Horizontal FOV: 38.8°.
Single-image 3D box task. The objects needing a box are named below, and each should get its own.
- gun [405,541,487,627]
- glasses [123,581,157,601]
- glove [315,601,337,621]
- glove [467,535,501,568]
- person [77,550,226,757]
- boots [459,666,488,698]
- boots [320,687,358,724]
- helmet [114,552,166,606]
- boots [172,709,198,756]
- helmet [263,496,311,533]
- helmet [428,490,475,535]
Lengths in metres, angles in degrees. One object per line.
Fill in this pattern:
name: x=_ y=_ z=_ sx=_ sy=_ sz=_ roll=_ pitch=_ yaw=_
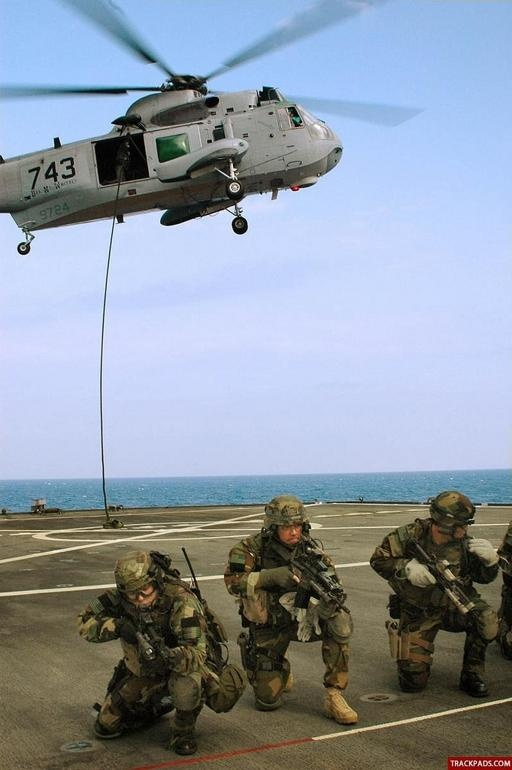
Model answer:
gun: x=1.564 y=1.655 z=6.036 sx=0.446 sy=0.856 sz=0.148 roll=-42 pitch=-29 yaw=11
glasses: x=-0.804 y=1.415 z=4.915 sx=0.145 sy=0.097 sz=0.191 roll=-22 pitch=19 yaw=2
glove: x=0.485 y=1.660 z=5.351 sx=0.133 sy=0.153 sz=0.173 roll=1 pitch=0 yaw=-4
glove: x=1.989 y=1.420 z=6.160 sx=0.104 sy=0.215 sz=0.294 roll=-33 pitch=-50 yaw=28
person: x=-0.735 y=1.823 z=5.040 sx=0.974 sy=1.185 sz=1.089 roll=-1 pitch=-5 yaw=-22
boots: x=1.768 y=2.404 z=5.825 sx=0.176 sy=0.172 sz=0.339 roll=-4 pitch=3 yaw=0
boots: x=0.523 y=2.331 z=5.235 sx=0.128 sy=0.217 sz=0.333 roll=1 pitch=-14 yaw=-28
helmet: x=-0.821 y=1.271 z=5.008 sx=0.299 sy=0.337 sz=0.364 roll=-24 pitch=33 yaw=10
boots: x=-0.519 y=2.226 z=4.695 sx=0.192 sy=0.191 sz=0.172 roll=-3 pitch=3 yaw=11
helmet: x=0.221 y=1.013 z=5.780 sx=0.335 sy=0.229 sz=0.319 roll=0 pitch=-5 yaw=-14
helmet: x=1.661 y=1.078 z=6.128 sx=0.358 sy=0.335 sz=0.325 roll=-3 pitch=3 yaw=12
